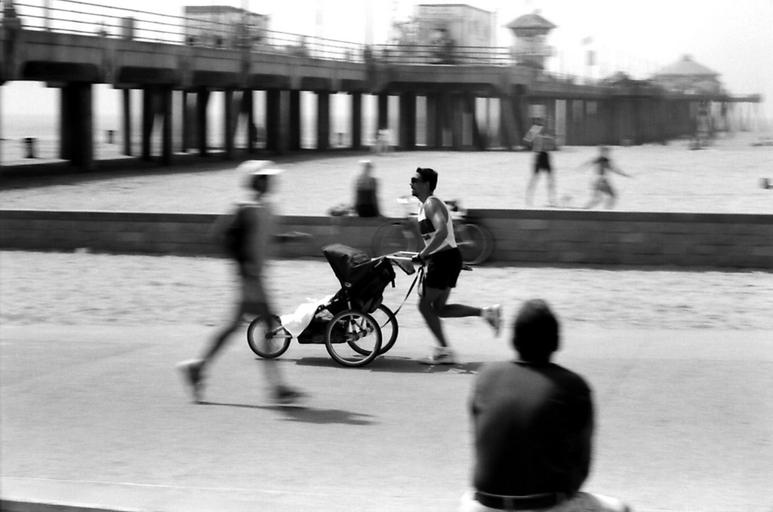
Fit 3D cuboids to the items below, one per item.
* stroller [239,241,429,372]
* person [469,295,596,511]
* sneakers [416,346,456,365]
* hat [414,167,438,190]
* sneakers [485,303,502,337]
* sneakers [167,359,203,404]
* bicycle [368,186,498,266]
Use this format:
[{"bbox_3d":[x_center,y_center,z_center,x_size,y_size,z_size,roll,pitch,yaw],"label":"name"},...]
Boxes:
[{"bbox_3d":[-0.694,0.609,15.347,2.439,1.281,1.008,-4,4,18],"label":"stroller"},{"bbox_3d":[1.175,1.257,10.054,1.006,1.516,0.631,1,16,4],"label":"person"},{"bbox_3d":[0.548,1.218,15.158,0.572,0.208,0.173,0,3,9],"label":"sneakers"},{"bbox_3d":[0.480,-0.929,14.916,0.336,0.257,0.234,-1,12,-6],"label":"hat"},{"bbox_3d":[1.299,0.737,15.294,0.213,0.207,0.561,-1,4,5],"label":"sneakers"},{"bbox_3d":[-2.212,1.369,13.784,0.236,0.585,0.270,-20,2,-3],"label":"sneakers"},{"bbox_3d":[0.909,-0.458,22.286,2.332,1.114,1.036,-1,13,5],"label":"bicycle"}]
